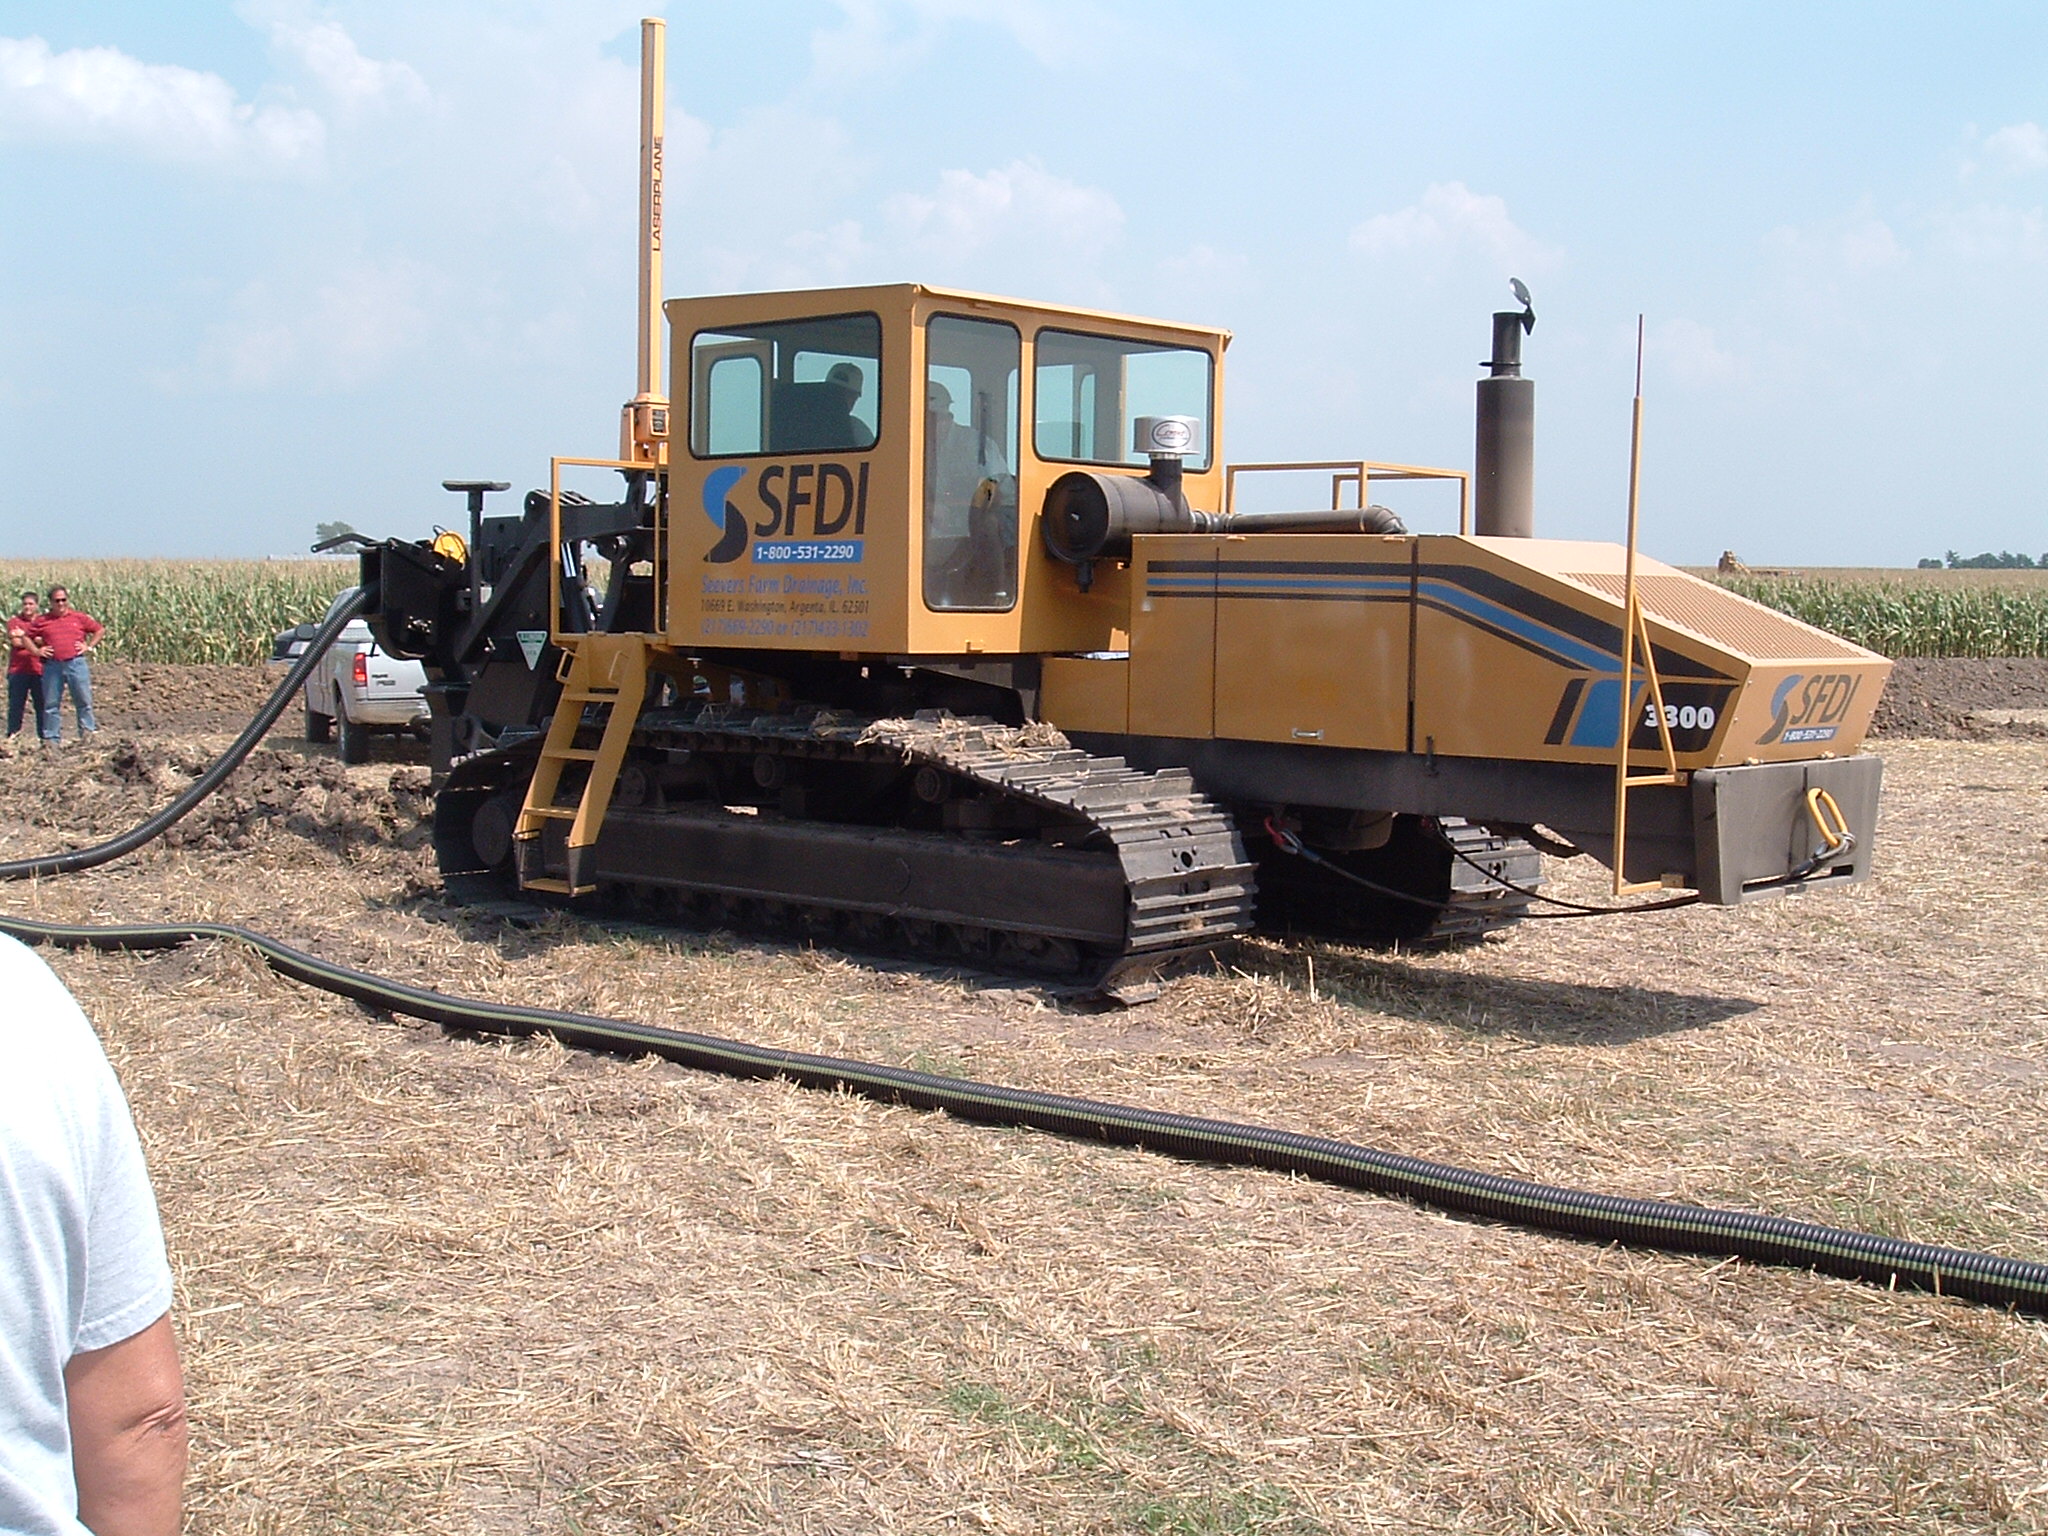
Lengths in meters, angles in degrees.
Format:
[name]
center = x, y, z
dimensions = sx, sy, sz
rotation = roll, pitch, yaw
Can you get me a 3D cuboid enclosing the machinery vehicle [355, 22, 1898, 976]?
[machinery vehicle]
center = 0.020, -0.749, 10.463
dimensions = 8.495, 3.666, 2.241
rotation = 6, 10, 29
